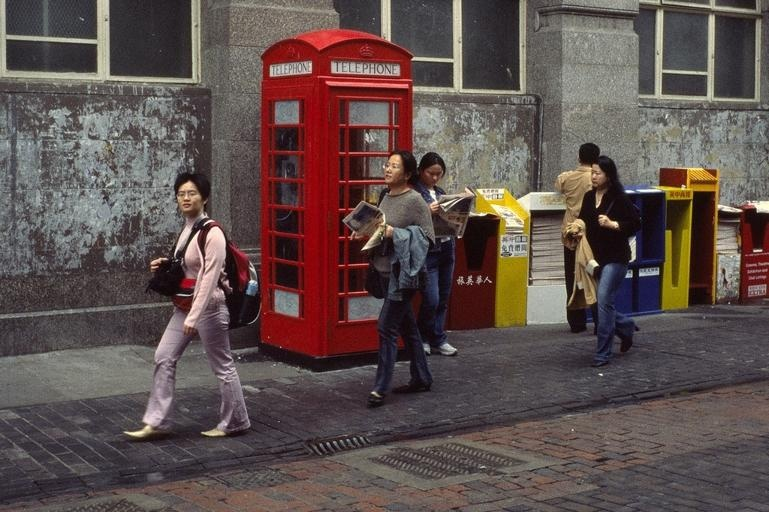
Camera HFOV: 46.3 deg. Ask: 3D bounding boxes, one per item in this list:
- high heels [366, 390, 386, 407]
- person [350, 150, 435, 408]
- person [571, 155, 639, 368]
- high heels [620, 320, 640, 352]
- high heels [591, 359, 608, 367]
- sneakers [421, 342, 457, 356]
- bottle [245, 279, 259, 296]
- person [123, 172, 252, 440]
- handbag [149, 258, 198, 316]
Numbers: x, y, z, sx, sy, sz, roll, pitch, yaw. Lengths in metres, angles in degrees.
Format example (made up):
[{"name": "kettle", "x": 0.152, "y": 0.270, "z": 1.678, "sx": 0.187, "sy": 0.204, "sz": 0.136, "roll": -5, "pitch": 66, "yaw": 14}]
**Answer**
[{"name": "high heels", "x": -0.088, "y": 1.560, "z": 9.716, "sx": 0.097, "sy": 0.114, "sz": 0.286, "roll": 0, "pitch": -7, "yaw": 12}, {"name": "person", "x": 0.190, "y": 0.227, "z": 9.907, "sx": 0.727, "sy": 2.751, "sz": 0.736, "roll": -1, "pitch": 4, "yaw": 2}, {"name": "person", "x": 2.822, "y": 0.055, "z": 11.217, "sx": 0.729, "sy": 2.566, "sz": 0.634, "roll": -2, "pitch": 4, "yaw": -7}, {"name": "high heels", "x": 3.166, "y": 1.051, "z": 11.599, "sx": 0.175, "sy": 0.404, "sz": 0.136, "roll": -15, "pitch": 34, "yaw": -28}, {"name": "high heels", "x": 2.662, "y": 1.318, "z": 11.052, "sx": 0.216, "sy": 0.085, "sz": 0.079, "roll": 0, "pitch": 0, "yaw": -37}, {"name": "sneakers", "x": 0.754, "y": 1.211, "z": 11.596, "sx": 0.552, "sy": 0.243, "sz": 0.204, "roll": -1, "pitch": 0, "yaw": 13}, {"name": "bottle", "x": -1.312, "y": 0.329, "z": 8.967, "sx": 0.133, "sy": 0.139, "sz": 0.132, "roll": 5, "pitch": 1, "yaw": 39}, {"name": "person", "x": -1.866, "y": 0.508, "z": 8.829, "sx": 1.012, "sy": 2.610, "sz": 0.441, "roll": -2, "pitch": 4, "yaw": -10}, {"name": "handbag", "x": -2.060, "y": 0.247, "z": 8.975, "sx": 0.455, "sy": 0.529, "sz": 0.228, "roll": 8, "pitch": 24, "yaw": -1}]
